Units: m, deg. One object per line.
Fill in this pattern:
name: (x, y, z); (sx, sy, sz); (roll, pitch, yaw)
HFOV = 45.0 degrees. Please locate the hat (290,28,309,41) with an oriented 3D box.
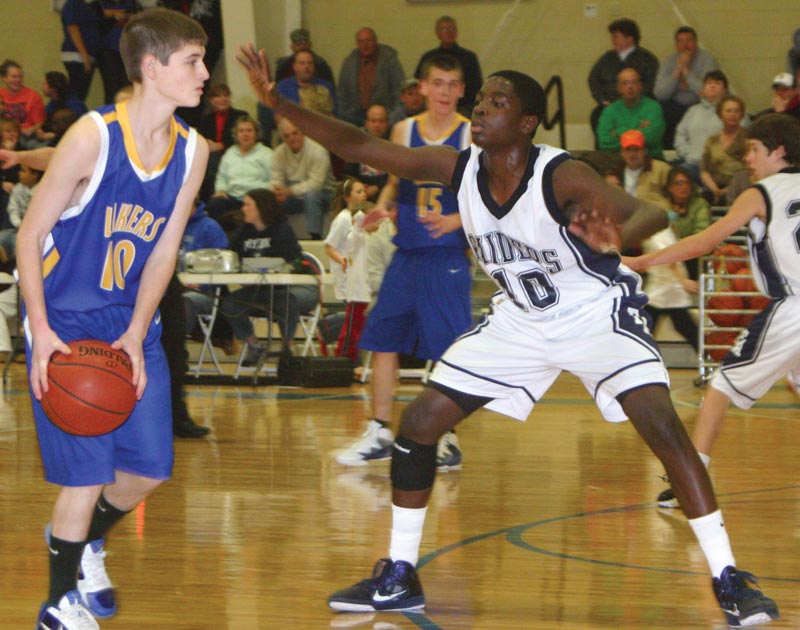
hat: (-1.023, -2.858, 9.875); (0.214, 0.124, 0.218); (-1, 2, -10)

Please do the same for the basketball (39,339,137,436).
basketball: (-0.964, 0.249, 3.031); (0.297, 0.295, 0.288); (9, -10, -22)

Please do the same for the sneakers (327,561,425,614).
sneakers: (-0.054, 0.949, 3.374); (0.396, 0.208, 0.140); (2, -9, -2)

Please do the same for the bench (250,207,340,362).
bench: (-1.004, -0.238, 8.290); (0.969, 1.537, 1.152); (1, -8, -8)

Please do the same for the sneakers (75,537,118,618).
sneakers: (-1.039, 0.918, 3.370); (0.104, 0.141, 0.308); (3, 15, -37)

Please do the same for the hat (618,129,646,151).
hat: (2.117, -1.585, 8.794); (0.307, 0.158, 0.448); (0, 8, 13)

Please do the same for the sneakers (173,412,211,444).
sneakers: (-1.245, 0.677, 5.829); (0.205, 0.083, 0.116); (0, 1, 34)

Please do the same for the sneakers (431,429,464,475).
sneakers: (0.262, 0.734, 5.167); (0.137, 0.160, 0.366); (-1, -12, 9)

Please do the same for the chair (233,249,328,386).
chair: (-0.954, -0.021, 8.158); (0.986, 1.237, 0.810); (5, -6, -26)

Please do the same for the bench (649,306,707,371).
bench: (2.364, 0.182, 8.132); (0.546, 0.503, 0.289); (1, 18, 10)
